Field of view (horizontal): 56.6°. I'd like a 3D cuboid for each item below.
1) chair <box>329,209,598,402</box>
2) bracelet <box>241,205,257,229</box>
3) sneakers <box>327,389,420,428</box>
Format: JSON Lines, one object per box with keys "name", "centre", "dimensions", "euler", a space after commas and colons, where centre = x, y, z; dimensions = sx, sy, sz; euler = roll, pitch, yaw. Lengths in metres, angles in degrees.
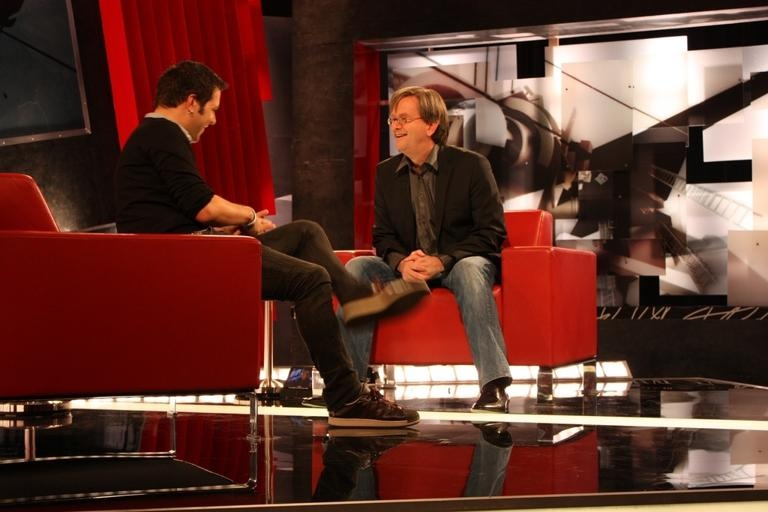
{"name": "chair", "centre": [0.408, 0.260, 3.986], "dimensions": [1.369, 0.972, 0.772], "euler": [-2, -3, 30]}
{"name": "bracelet", "centre": [-0.593, -0.171, 3.159], "dimensions": [0.068, 0.070, 0.081], "euler": [-5, -3, 2]}
{"name": "sneakers", "centre": [-0.039, 0.665, 3.094], "dimensions": [0.426, 0.165, 0.149], "euler": [0, -4, -9]}
